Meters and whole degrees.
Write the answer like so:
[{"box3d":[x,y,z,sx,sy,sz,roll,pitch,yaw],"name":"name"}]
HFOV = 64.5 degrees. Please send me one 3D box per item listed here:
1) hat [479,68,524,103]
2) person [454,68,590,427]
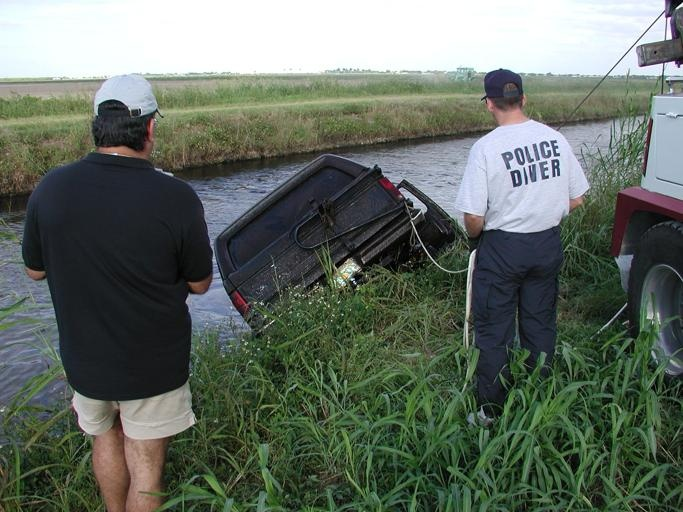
[{"box3d":[1.265,-1.351,4.246,0.297,0.229,0.322,0,21,17],"name":"hat"},{"box3d":[1.355,-0.125,4.276,1.228,2.522,0.696,-18,22,-32],"name":"person"}]
